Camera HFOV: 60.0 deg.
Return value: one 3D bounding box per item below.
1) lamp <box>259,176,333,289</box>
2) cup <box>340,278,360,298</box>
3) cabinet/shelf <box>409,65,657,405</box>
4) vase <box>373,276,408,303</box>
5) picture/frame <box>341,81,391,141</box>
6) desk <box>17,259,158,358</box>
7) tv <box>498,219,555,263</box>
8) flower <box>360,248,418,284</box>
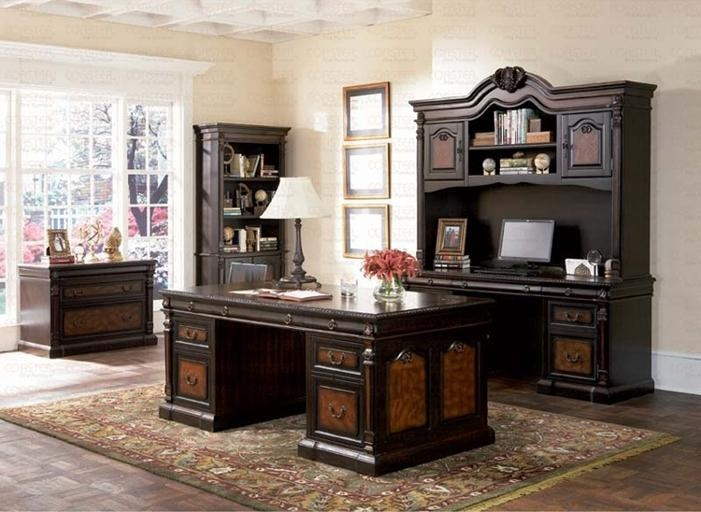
[{"bbox_3d":[-0.416,-0.183,4.790,0.471,0.873,0.416,-2,5,-17],"label":"lamp"},{"bbox_3d":[-0.022,0.247,4.463,0.155,0.119,0.139,0,-2,20],"label":"cup"},{"bbox_3d":[1.661,-0.208,6.356,1.016,2.812,2.795,-4,7,-37],"label":"cabinet/shelf"},{"bbox_3d":[0.269,0.234,4.131,0.211,0.159,0.187,0,-1,-1],"label":"vase"},{"bbox_3d":[0.236,-1.915,7.997,1.045,0.825,0.082,2,4,41],"label":"picture/frame"},{"bbox_3d":[-3.180,0.593,7.593,1.969,1.193,1.149,-2,2,-44],"label":"desk"},{"bbox_3d":[1.822,-0.152,6.245,0.528,0.367,0.053,6,-3,42],"label":"tv"},{"bbox_3d":[0.271,0.075,4.188,0.373,0.191,0.320,4,5,1],"label":"flower"}]
